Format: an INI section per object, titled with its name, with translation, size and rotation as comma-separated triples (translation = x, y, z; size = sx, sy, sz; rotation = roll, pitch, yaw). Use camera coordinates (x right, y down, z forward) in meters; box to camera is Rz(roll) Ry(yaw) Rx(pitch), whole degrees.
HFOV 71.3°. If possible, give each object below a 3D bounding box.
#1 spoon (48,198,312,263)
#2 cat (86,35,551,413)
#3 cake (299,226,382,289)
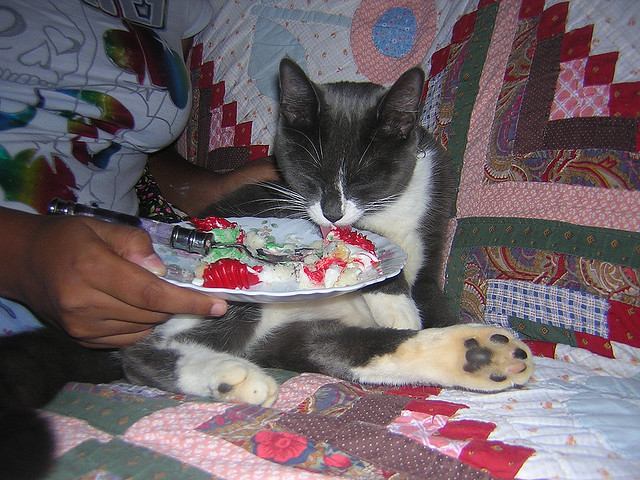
[spoon]
translation = -0.352, -0.022, 1.180
size = 0.600, 0.070, 0.065
rotation = 12, 51, 12
[cat]
translation = 0.007, -0.114, 1.524
size = 0.884, 0.498, 1.238
rotation = -3, 10, -8
[cake]
translation = 0.053, 0.056, 1.201
size = 0.264, 0.091, 0.346
rotation = 10, 17, -3
